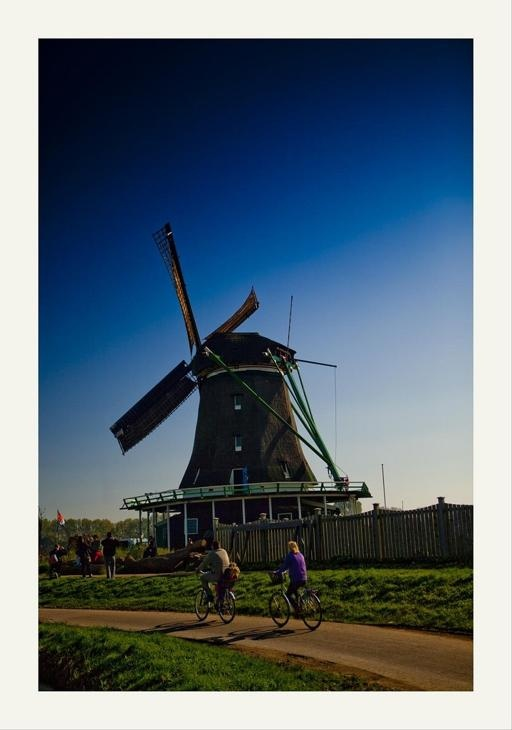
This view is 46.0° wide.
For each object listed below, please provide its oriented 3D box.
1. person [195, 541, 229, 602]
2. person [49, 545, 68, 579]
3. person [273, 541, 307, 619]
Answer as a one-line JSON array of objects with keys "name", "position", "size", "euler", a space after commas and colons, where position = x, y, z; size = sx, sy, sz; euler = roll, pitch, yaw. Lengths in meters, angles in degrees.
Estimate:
[{"name": "person", "position": [-0.883, 4.377, 12.766], "size": [0.653, 1.249, 1.229], "euler": [-7, -7, -7]}, {"name": "person", "position": [-8.687, 8.576, 26.342], "size": [0.636, 1.365, 2.393], "euler": [-5, -8, -19]}, {"name": "person", "position": [0.695, 4.084, 11.619], "size": [0.551, 1.388, 1.022], "euler": [-8, -7, 2]}]
